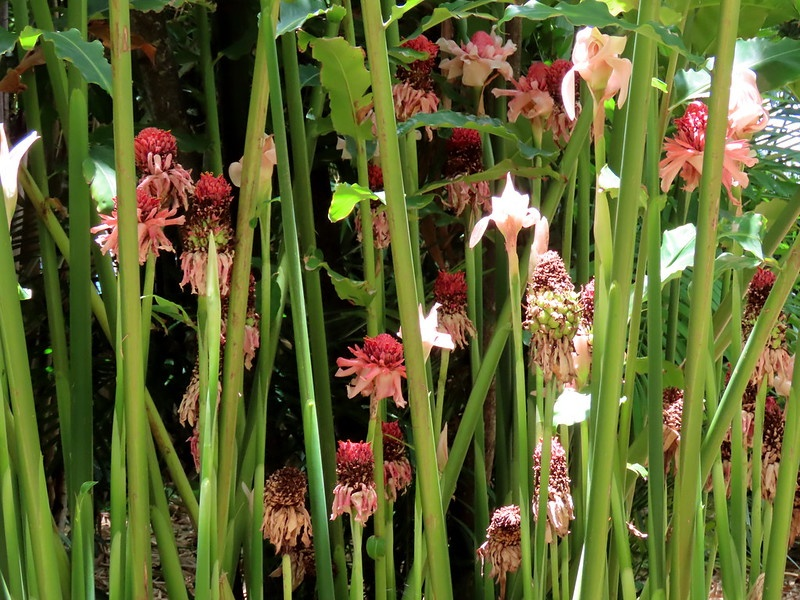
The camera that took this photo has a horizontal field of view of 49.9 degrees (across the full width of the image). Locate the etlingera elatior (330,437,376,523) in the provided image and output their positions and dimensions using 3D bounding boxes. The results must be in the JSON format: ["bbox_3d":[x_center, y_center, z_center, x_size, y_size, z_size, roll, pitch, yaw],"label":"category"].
[{"bbox_3d":[-0.050,0.190,0.908,0.044,0.052,0.094,5,31,0],"label":"etlingera elatior"}]

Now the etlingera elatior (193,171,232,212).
[{"bbox_3d":[-0.195,-0.108,0.899,0.034,0.043,0.034,-1,-4,-41],"label":"etlingera elatior"}]

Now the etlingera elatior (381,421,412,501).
[{"bbox_3d":[-0.001,0.193,1.023,0.036,0.098,0.034,6,-5,-41],"label":"etlingera elatior"}]

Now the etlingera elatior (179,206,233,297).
[{"bbox_3d":[-0.200,-0.051,0.889,0.053,0.090,0.053,-3,5,-15],"label":"etlingera elatior"}]

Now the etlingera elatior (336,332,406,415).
[{"bbox_3d":[-0.026,0.080,0.923,0.056,0.083,0.075,10,8,10],"label":"etlingera elatior"}]
